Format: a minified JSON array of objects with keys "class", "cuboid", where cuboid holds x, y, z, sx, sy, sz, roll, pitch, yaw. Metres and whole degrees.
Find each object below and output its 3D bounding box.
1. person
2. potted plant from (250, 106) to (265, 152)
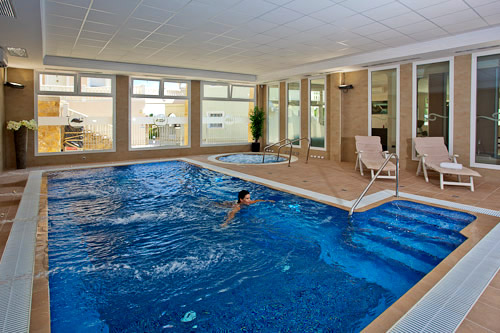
[{"class":"person","cuboid":[-0.310,0.969,7.870,1.708,0.590,1.250,-14,7,-35]},{"class":"potted plant","cuboid":[0.425,-2.061,16.388,0.835,2.474,0.782,-2,9,1]}]
